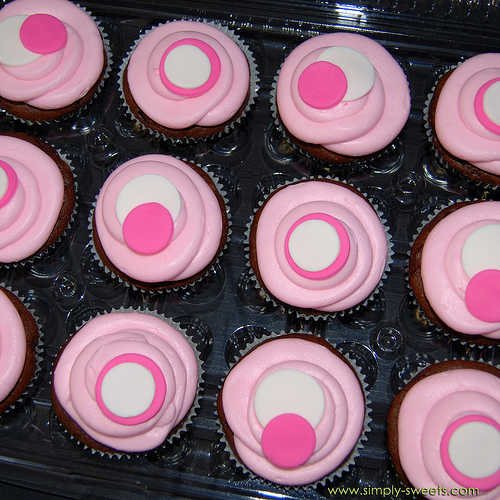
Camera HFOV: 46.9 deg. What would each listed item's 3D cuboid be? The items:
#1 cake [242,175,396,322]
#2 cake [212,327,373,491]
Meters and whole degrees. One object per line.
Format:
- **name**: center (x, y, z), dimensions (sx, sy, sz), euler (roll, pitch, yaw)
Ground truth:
- **cake**: center (0.293, -0.055, 2.666), dimensions (0.702, 0.692, 0.513), euler (-6, -33, 12)
- **cake**: center (0.181, 0.675, 2.513), dimensions (0.590, 0.640, 0.214), euler (-1, -16, 1)
